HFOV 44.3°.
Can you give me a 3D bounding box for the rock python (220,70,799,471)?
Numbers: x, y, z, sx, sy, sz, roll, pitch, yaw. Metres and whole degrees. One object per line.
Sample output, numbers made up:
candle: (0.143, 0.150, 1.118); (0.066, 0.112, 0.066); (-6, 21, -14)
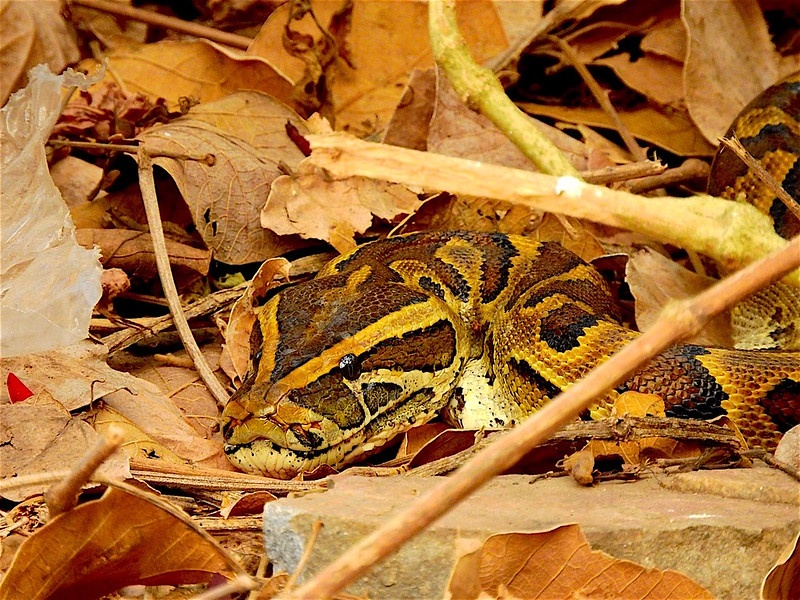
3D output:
rock python: (0.488, 0.068, 4.500); (2.528, 0.397, 1.475); (-22, 33, -31)
